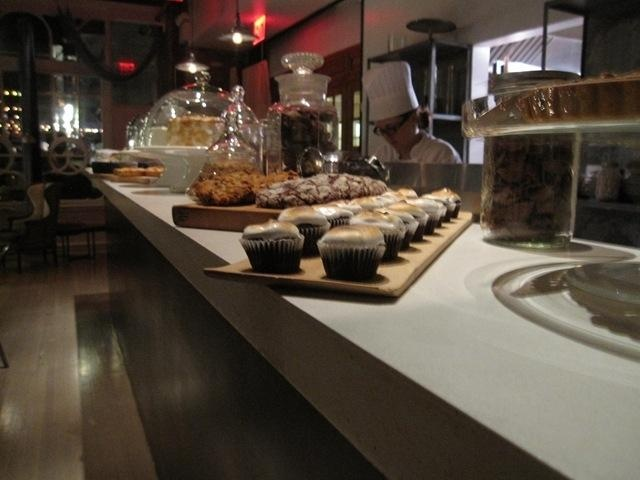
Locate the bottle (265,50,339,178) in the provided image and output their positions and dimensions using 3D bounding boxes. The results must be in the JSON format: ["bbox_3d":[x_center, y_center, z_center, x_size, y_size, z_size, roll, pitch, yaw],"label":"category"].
[{"bbox_3d":[-0.060,-0.364,1.279,0.211,0.346,0.306,-3,9,-7],"label":"bottle"}]

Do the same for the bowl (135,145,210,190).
[{"bbox_3d":[-0.540,-0.275,1.685,0.242,0.103,0.249,1,9,0],"label":"bowl"}]

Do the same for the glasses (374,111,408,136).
[{"bbox_3d":[0.444,-0.666,2.679,0.108,0.029,0.102,-52,25,-19],"label":"glasses"}]

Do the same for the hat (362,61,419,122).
[{"bbox_3d":[0.357,-0.833,2.517,0.283,0.308,0.324,-17,33,12],"label":"hat"}]
